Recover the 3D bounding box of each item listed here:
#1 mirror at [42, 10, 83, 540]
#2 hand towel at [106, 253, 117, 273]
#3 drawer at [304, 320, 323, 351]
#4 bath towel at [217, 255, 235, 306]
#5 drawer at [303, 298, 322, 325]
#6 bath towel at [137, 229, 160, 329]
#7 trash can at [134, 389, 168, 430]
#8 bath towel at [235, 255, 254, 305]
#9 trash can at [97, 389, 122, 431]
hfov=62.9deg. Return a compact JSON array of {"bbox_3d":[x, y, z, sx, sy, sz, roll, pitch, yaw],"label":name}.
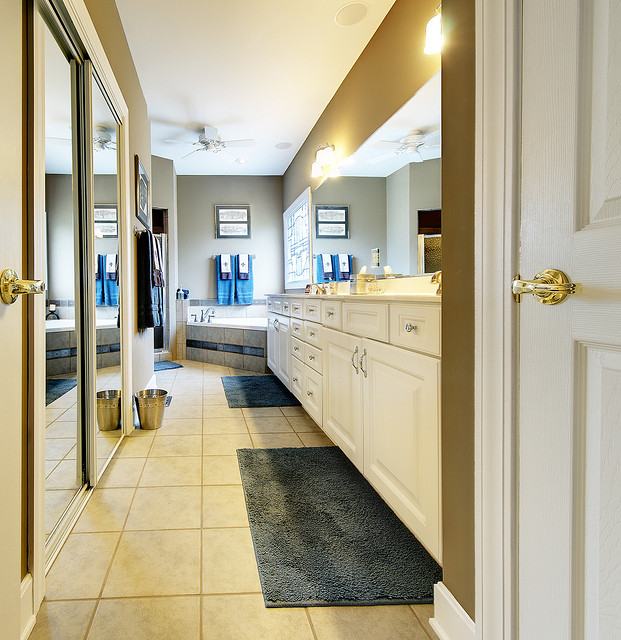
[{"bbox_3d":[-0.928,-0.153,1.888,0.093,1.765,0.504,-1,4,-19],"label":"mirror"},{"bbox_3d":[-1.011,-0.285,2.577,0.023,0.096,0.083,-1,0,7],"label":"hand towel"},{"bbox_3d":[0.017,0.086,2.876,0.096,0.147,0.200,2,-1,-16],"label":"drawer"},{"bbox_3d":[-1.076,-0.444,6.464,0.248,0.693,0.081,4,-34,-14],"label":"bath towel"},{"bbox_3d":[0.009,-0.049,2.899,0.091,0.140,0.192,1,-1,-8],"label":"drawer"},{"bbox_3d":[-1.141,-0.278,3.578,0.111,0.678,0.286,-1,4,-10],"label":"bath towel"},{"bbox_3d":[-1.010,0.571,3.221,0.192,0.223,0.200,5,6,40],"label":"trash can"},{"bbox_3d":[-0.865,-0.514,6.506,0.257,0.814,0.081,1,-30,-8],"label":"bath towel"},{"bbox_3d":[-1.112,0.514,2.814,0.133,0.183,0.143,-2,-3,-22],"label":"trash can"}]
